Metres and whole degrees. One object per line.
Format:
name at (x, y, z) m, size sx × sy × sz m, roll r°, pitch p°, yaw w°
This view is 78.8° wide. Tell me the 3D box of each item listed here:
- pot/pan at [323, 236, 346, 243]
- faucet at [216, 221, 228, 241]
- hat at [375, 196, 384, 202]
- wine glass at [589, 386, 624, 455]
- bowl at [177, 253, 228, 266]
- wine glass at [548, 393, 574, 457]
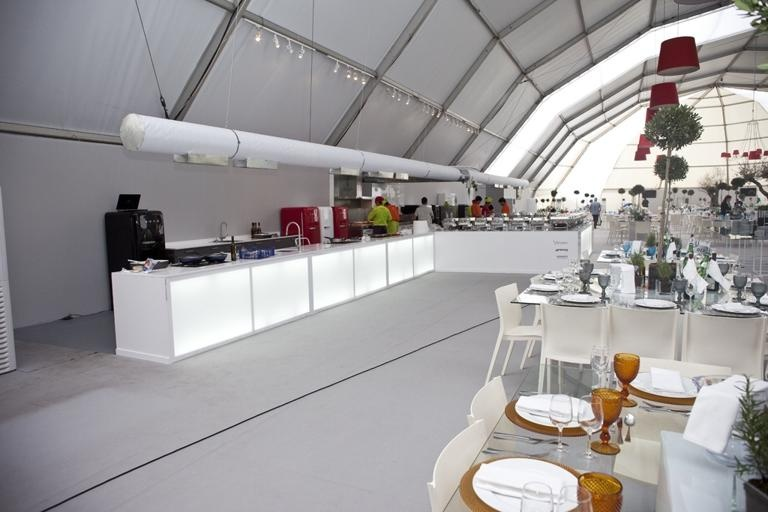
pot/pan at (-0.888, -0.300, 8.361) m, size 0.317 × 0.103 × 0.229 m, roll -1°, pitch 2°, yaw 21°
faucet at (-3.200, -0.509, 9.198) m, size 0.169 × 0.370 × 0.354 m, roll -1°, pitch 2°, yaw 18°
hat at (-0.104, -1.349, 11.008) m, size 0.157 × 0.090 × 0.241 m, roll -9°, pitch 8°, yaw -7°
wine glass at (1.090, 0.781, 2.298) m, size 0.142 × 0.290 × 0.247 m, roll 5°, pitch 14°, yaw 26°
bowl at (-2.354, 0.036, 6.080) m, size 0.565 × 0.127 × 0.384 m, roll -9°, pitch 14°, yaw -29°
wine glass at (0.872, 0.800, 2.294) m, size 0.100 × 0.267 × 0.260 m, roll 4°, pitch 14°, yaw 25°
